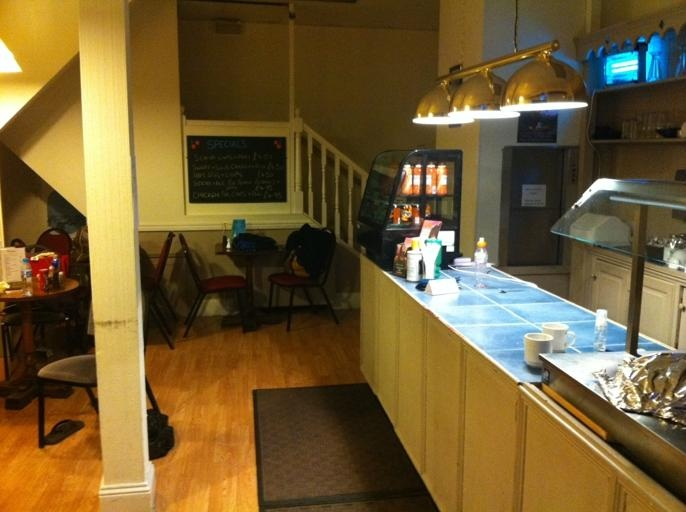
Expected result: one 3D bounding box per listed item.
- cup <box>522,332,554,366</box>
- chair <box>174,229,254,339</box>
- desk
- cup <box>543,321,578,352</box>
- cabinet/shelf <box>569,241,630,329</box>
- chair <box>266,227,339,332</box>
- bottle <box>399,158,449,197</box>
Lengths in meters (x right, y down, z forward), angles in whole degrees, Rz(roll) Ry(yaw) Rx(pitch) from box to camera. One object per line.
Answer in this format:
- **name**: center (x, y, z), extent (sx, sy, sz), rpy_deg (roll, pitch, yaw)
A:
- **cup**: center (0.923, 0.441, 2.708), extent (0.140, 0.147, 0.138), rpy_deg (1, 14, 0)
- **chair**: center (-1.438, 0.261, 6.816), extent (1.115, 1.448, 0.957), rpy_deg (-4, 10, -10)
- **desk**: center (-1.080, 0.307, 6.716), extent (0.915, 1.080, 0.915), rpy_deg (-2, 25, -11)
- **cup**: center (1.108, 0.407, 2.872), extent (0.184, 0.131, 0.120), rpy_deg (-1, 7, -3)
- **cabinet/shelf**: center (2.110, 0.232, 4.625), extent (0.282, 0.701, 0.730), rpy_deg (0, 4, -14)
- **chair**: center (-0.469, 0.222, 6.692), extent (0.831, 1.145, 0.977), rpy_deg (-2, 14, -8)
- **bottle**: center (0.624, -0.627, 4.490), extent (0.297, 0.221, 0.102), rpy_deg (-1, 8, -17)
